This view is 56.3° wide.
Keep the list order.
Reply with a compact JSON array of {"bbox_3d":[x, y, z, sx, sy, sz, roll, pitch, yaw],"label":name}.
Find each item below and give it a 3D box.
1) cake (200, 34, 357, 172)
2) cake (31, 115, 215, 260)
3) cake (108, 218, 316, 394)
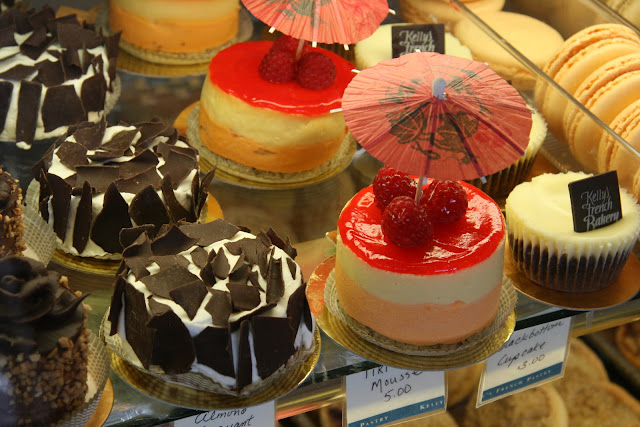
[{"bbox_3d":[-0.147,-0.434,2.308,0.610,0.292,0.611,11,42,-2],"label":"cake"},{"bbox_3d":[-0.658,-0.032,1.936,0.526,0.184,0.525,6,9,5],"label":"cake"},{"bbox_3d":[-0.330,0.204,1.609,0.499,0.199,0.509,12,23,-21],"label":"cake"}]
